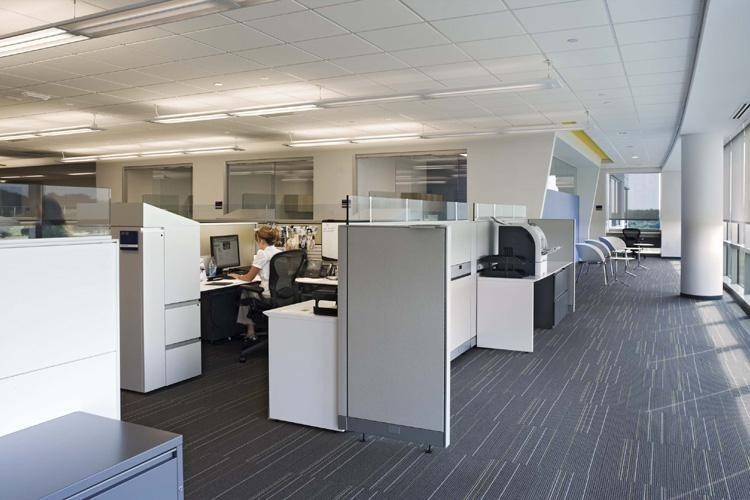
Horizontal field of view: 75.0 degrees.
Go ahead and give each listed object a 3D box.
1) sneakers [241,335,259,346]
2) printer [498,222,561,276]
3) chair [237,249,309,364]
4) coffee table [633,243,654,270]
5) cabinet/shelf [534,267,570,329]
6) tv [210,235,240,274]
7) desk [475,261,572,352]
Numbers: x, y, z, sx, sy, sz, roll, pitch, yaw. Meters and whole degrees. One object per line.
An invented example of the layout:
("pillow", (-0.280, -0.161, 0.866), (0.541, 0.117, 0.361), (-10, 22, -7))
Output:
("sneakers", (-1.757, 1.270, 6.847), (0.131, 0.123, 0.326), (2, 4, -8))
("printer", (2.290, -0.014, 7.284), (0.917, 0.802, 0.642), (-1, -2, 22))
("chair", (-1.455, 0.683, 6.673), (0.696, 1.403, 1.199), (7, 11, 38))
("coffee table", (9.429, 0.264, 17.102), (0.842, 0.902, 0.825), (-3, -1, 22))
("cabinet/shelf", (2.862, 0.784, 7.921), (0.576, 0.721, 1.057), (-1, 2, 27))
("tv", (-2.264, 0.070, 7.275), (0.211, 0.560, 0.591), (0, 2, 30))
("desk", (2.457, 0.793, 7.560), (0.777, 1.041, 2.351), (8, 11, 38))
